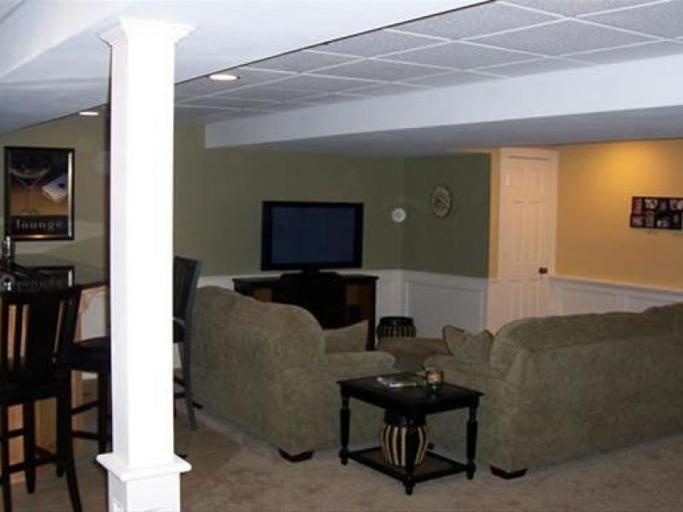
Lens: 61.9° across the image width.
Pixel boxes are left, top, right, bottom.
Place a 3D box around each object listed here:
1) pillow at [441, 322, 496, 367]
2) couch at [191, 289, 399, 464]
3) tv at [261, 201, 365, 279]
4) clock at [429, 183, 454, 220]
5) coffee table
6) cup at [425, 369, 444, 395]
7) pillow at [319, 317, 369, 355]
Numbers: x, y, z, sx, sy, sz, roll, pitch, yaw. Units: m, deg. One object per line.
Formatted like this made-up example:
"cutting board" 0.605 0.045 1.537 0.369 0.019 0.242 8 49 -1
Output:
"pillow" 0.940 0.608 4.127 0.280 0.271 0.111 4 11 25
"couch" -0.369 0.464 4.476 1.059 1.217 1.932 -5 8 -36
"tv" -0.411 -0.224 7.129 1.013 0.662 0.260 -1 9 -27
"clock" 1.303 -0.721 7.455 0.062 0.444 0.411 -7 14 -30
"coffee table" 0.471 1.034 3.843 0.696 0.651 0.903 -5 8 -34
"cup" 0.616 0.833 3.754 0.123 0.134 0.124 1 -1 0
"pillow" 0.031 0.625 4.618 0.272 0.326 0.255 1 -4 -5
